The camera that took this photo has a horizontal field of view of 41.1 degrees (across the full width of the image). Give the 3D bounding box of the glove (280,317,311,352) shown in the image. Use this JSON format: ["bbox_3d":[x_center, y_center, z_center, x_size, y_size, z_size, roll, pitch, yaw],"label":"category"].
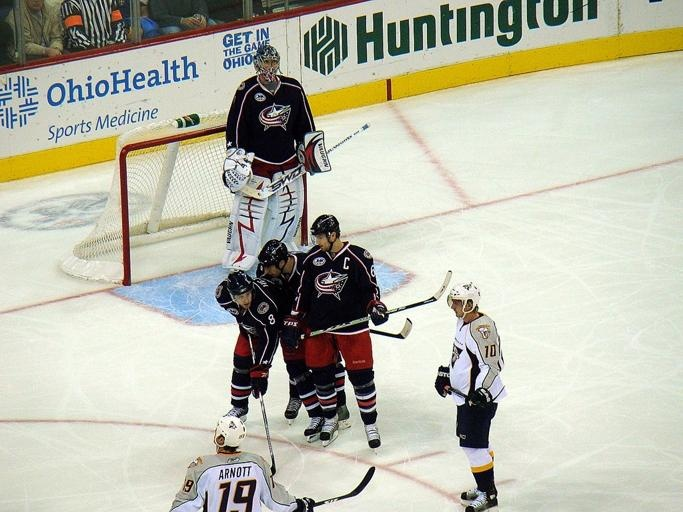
[{"bbox_3d":[-0.311,0.522,6.033,0.198,0.236,0.103,-2,-7,34],"label":"glove"}]

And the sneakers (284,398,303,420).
[{"bbox_3d":[-0.353,1.081,6.361,0.079,0.069,0.200,3,29,3],"label":"sneakers"}]

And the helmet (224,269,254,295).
[{"bbox_3d":[-0.653,0.170,5.799,0.140,0.154,0.171,-12,8,-7],"label":"helmet"}]

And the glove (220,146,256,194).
[{"bbox_3d":[-0.873,-0.721,7.769,0.299,0.339,0.169,-8,-18,29],"label":"glove"}]

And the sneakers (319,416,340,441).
[{"bbox_3d":[-0.090,1.172,6.155,0.076,0.085,0.214,-1,14,10],"label":"sneakers"}]

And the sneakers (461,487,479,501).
[{"bbox_3d":[0.748,1.438,5.473,0.125,0.056,0.043,-28,39,32],"label":"sneakers"}]

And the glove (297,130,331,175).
[{"bbox_3d":[-0.260,-0.879,7.880,0.252,0.359,0.211,-8,17,-1],"label":"glove"}]

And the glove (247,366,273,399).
[{"bbox_3d":[-0.524,0.817,5.878,0.079,0.187,0.159,-2,-9,22],"label":"glove"}]

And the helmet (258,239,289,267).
[{"bbox_3d":[-0.446,0.001,6.030,0.185,0.147,0.143,-46,26,1],"label":"helmet"}]

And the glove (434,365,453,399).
[{"bbox_3d":[0.602,0.762,5.480,0.059,0.153,0.117,9,9,5],"label":"glove"}]

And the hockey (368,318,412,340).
[{"bbox_3d":[0.314,0.498,5.921,0.255,0.062,0.225,6,38,13],"label":"hockey"}]

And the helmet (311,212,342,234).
[{"bbox_3d":[-0.121,-0.194,5.978,0.178,0.131,0.173,-8,16,-6],"label":"helmet"}]

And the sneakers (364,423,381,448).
[{"bbox_3d":[0.198,1.192,6.003,0.071,0.192,0.130,-10,54,-2],"label":"sneakers"}]

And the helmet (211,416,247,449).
[{"bbox_3d":[-0.597,0.893,4.737,0.196,0.151,0.146,2,7,15],"label":"helmet"}]

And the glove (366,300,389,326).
[{"bbox_3d":[0.226,0.380,5.853,0.125,0.061,0.150,-13,53,-8],"label":"glove"}]

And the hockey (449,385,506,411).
[{"bbox_3d":[0.729,0.827,5.284,0.178,0.043,0.117,18,13,33],"label":"hockey"}]

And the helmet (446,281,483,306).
[{"bbox_3d":[0.712,0.225,5.335,0.181,0.125,0.130,10,-5,10],"label":"helmet"}]

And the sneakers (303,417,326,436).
[{"bbox_3d":[-0.192,1.159,6.169,0.070,0.082,0.196,-1,8,17],"label":"sneakers"}]
